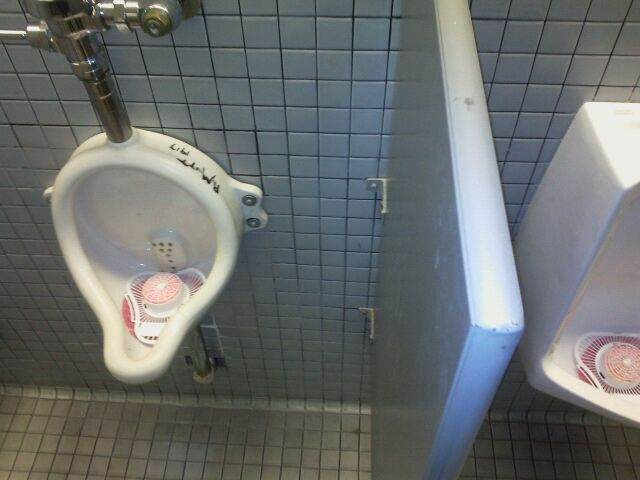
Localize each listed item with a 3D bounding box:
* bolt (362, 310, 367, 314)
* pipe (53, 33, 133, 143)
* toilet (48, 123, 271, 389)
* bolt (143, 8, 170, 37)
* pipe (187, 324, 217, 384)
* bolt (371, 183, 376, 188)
[{"bbox_3d":[0.146,0.243,1.694,0.008,0.013,0.003,7,-1,-4],"label":"bolt"},{"bbox_3d":[-0.482,-0.331,1.105,0.066,0.065,0.250,3,-44,14],"label":"pipe"},{"bbox_3d":[-0.426,0.023,1.370,0.597,0.481,0.699,2,-41,-1],"label":"toilet"},{"bbox_3d":[-0.330,-0.438,1.027,0.051,0.024,0.051,17,-42,-1],"label":"bolt"},{"bbox_3d":[-0.417,0.383,1.721,0.085,0.085,0.258,-3,-83,57],"label":"pipe"},{"bbox_3d":[0.140,-0.144,1.358,0.012,0.002,0.014,8,-43,9],"label":"bolt"}]
